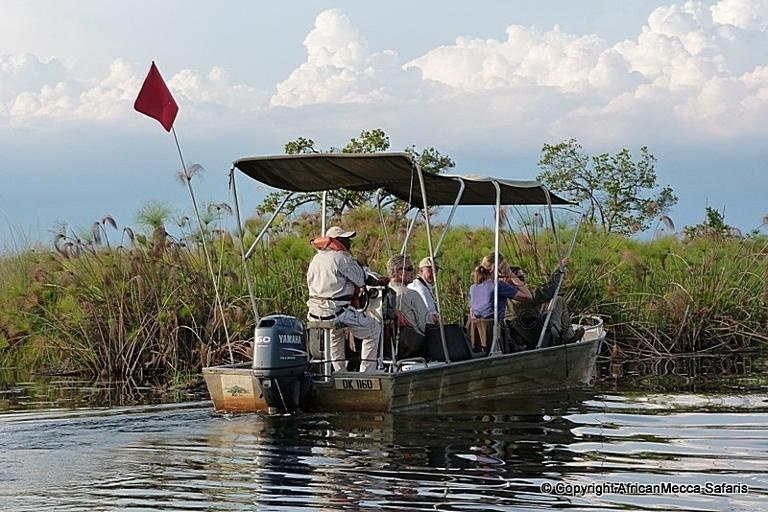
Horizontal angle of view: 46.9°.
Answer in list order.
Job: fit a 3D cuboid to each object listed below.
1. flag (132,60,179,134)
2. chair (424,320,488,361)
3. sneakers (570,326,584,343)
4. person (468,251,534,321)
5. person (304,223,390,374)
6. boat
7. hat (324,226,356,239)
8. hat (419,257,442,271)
[{"bbox_3d":[-3.134,-2.235,12.214,0.584,1.164,0.109,-4,-24,-33],"label":"flag"},{"bbox_3d":[0.857,1.170,11.773,0.516,0.378,0.537,-3,-11,23],"label":"chair"},{"bbox_3d":[2.926,1.203,13.393,0.143,0.216,0.486,5,26,18],"label":"sneakers"},{"bbox_3d":[1.762,0.481,12.967,0.753,1.109,0.601,13,21,38],"label":"person"},{"bbox_3d":[-0.450,0.596,11.520,0.978,1.938,1.102,-3,3,4],"label":"person"},{"bbox_3d":[0.976,1.693,11.809,3.721,0.769,2.017,7,-11,-43],"label":"boat"},{"bbox_3d":[-0.558,-0.287,11.420,0.351,0.159,0.251,-3,-1,10],"label":"hat"},{"bbox_3d":[0.624,0.110,12.330,0.331,0.192,0.246,-11,-4,15],"label":"hat"}]
